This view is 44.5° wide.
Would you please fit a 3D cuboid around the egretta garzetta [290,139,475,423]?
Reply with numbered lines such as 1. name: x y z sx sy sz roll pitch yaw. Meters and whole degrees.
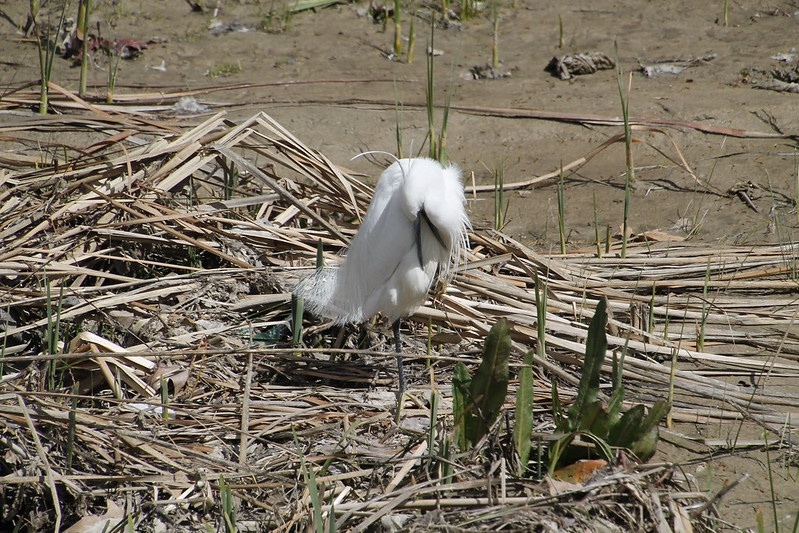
1. egretta garzetta: -0.078 -0.125 6.060 0.844 1.155 0.855 23 37 12
